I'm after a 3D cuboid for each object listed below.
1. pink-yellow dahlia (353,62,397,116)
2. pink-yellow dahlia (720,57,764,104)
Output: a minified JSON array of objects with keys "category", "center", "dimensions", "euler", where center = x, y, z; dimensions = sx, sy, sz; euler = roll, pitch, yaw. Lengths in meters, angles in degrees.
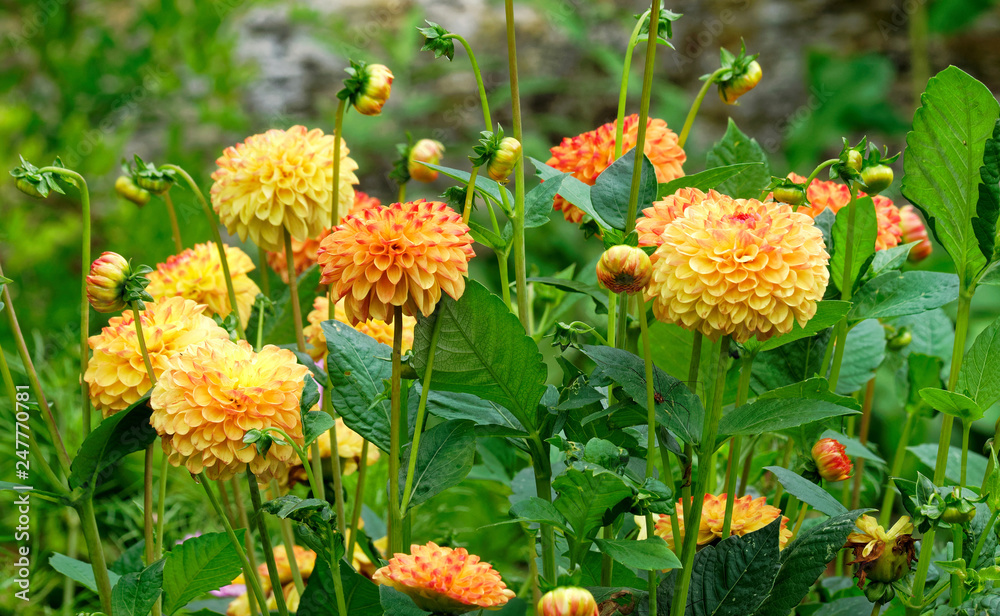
[{"category":"pink-yellow dahlia","center":[-0.191,-0.324,1.703],"dimensions":[0.073,0.066,0.061],"euler":[22,-3,-5]},{"category":"pink-yellow dahlia","center":[0.359,-0.341,1.691],"dimensions":[0.065,0.036,0.065],"euler":[-14,15,7]}]
